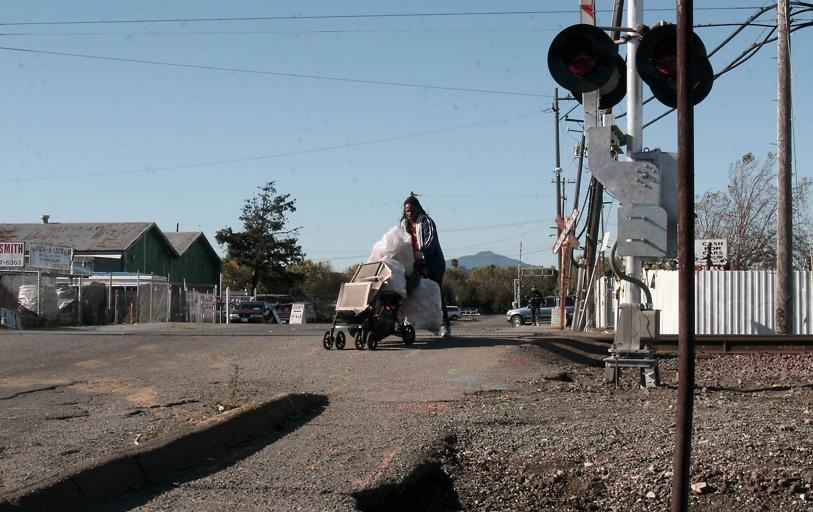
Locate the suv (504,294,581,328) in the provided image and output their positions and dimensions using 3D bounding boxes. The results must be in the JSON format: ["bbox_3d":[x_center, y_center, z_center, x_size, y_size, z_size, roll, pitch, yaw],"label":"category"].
[{"bbox_3d":[7.070,2.899,39.640,3.671,1.696,1.688,1,-6,5],"label":"suv"}]

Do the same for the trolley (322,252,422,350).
[{"bbox_3d":[-0.592,1.127,16.158,2.000,2.089,1.589,7,-10,-43],"label":"trolley"}]

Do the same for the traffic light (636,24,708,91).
[{"bbox_3d":[3.457,-2.657,9.709,0.847,1.013,0.422,-2,-5,19],"label":"traffic light"}]
